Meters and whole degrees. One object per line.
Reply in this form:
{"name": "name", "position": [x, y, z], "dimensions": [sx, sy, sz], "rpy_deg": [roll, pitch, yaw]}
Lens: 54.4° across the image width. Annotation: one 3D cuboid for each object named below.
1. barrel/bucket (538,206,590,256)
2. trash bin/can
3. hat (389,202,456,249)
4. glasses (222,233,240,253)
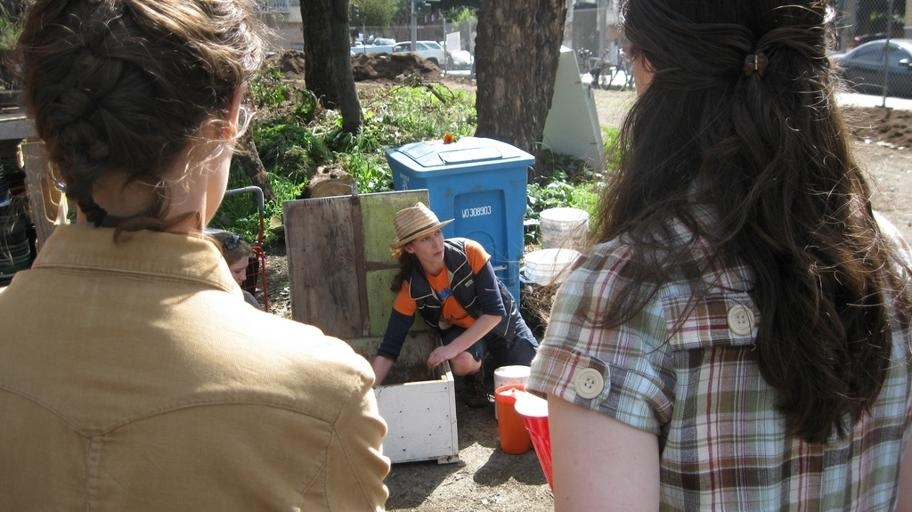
{"name": "barrel/bucket", "position": [0.978, -0.245, 7.562], "dimensions": [0.450, 0.325, 0.480], "rpy_deg": [-5, -3, 0]}
{"name": "trash bin/can", "position": [0.127, -0.361, 6.966], "dimensions": [0.857, 1.485, 1.009], "rpy_deg": [-5, 34, 1]}
{"name": "hat", "position": [-0.244, -0.149, 5.580], "dimensions": [0.277, 0.130, 0.313], "rpy_deg": [-32, 6, -33]}
{"name": "glasses", "position": [-1.305, -0.075, 5.126], "dimensions": [0.083, 0.042, 0.120], "rpy_deg": [1, 18, -6]}
